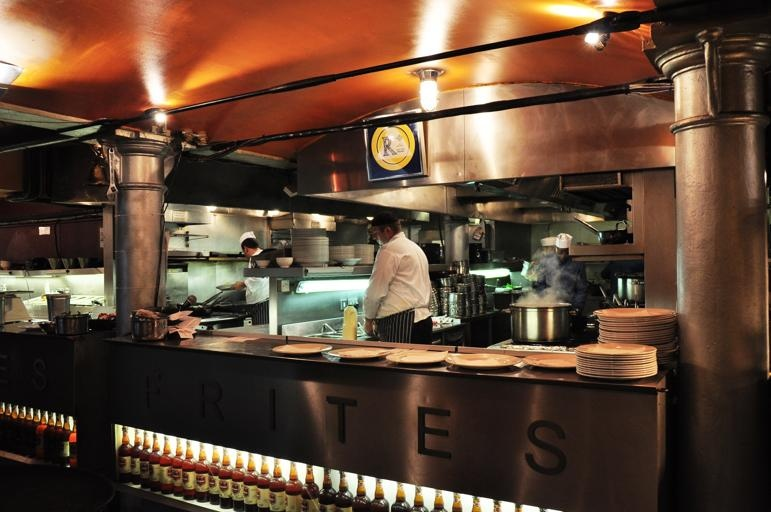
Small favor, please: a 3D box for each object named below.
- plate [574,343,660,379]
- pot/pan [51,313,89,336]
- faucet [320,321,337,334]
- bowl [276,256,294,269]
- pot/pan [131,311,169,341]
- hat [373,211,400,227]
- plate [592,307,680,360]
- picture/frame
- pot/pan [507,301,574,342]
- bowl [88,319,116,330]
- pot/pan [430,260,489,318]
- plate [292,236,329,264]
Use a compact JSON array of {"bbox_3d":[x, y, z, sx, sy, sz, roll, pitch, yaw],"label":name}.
[{"bbox_3d":[1.385,0.620,3.993,0.456,0.172,0.329,-6,13,-16],"label":"plate"},{"bbox_3d":[-2.688,0.580,5.634,0.219,0.147,0.248,0,-5,-6],"label":"pot/pan"},{"bbox_3d":[-0.565,0.718,6.563,0.109,0.064,0.139,3,-12,8],"label":"faucet"},{"bbox_3d":[-0.900,0.056,5.909,0.136,0.054,0.114,-2,-4,5],"label":"bowl"},{"bbox_3d":[-1.928,0.574,5.404,0.306,0.198,0.250,-3,-5,34],"label":"pot/pan"},{"bbox_3d":[0.002,-0.321,5.930,0.216,0.078,0.139,-1,-1,9],"label":"hat"},{"bbox_3d":[1.610,0.485,4.237,0.422,0.186,0.382,1,-3,-31],"label":"plate"},{"bbox_3d":[0.102,-0.922,5.661,0.827,0.592,0.088,-5,-7,33],"label":"picture/frame"},{"bbox_3d":[1.216,0.526,5.312,0.416,0.186,0.402,0,-1,21],"label":"pot/pan"},{"bbox_3d":[-2.520,0.601,5.854,0.243,0.094,0.096,2,15,19],"label":"bowl"},{"bbox_3d":[0.900,0.462,7.841,0.550,0.547,0.782,-5,-10,23],"label":"pot/pan"},{"bbox_3d":[-0.672,-0.046,5.917,0.329,0.169,0.275,0,-3,-5],"label":"plate"}]
